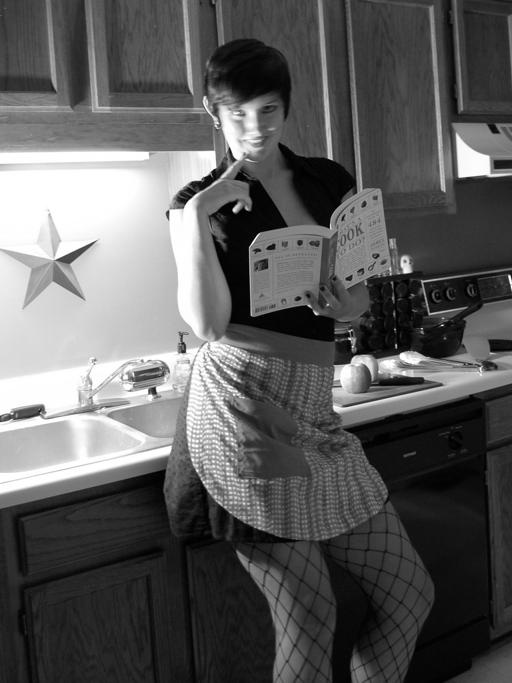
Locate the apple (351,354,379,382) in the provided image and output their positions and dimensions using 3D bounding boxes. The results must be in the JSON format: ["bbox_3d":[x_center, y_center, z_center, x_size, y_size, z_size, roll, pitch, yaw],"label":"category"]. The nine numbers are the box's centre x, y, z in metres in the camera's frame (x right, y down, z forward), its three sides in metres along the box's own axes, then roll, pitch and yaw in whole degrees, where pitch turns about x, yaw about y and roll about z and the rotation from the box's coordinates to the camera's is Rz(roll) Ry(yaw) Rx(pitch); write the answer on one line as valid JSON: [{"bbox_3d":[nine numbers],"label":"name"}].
[{"bbox_3d":[0.324,0.067,1.691,0.072,0.075,0.075,-7,9,27],"label":"apple"}]

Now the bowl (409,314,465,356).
[{"bbox_3d":[0.643,-0.027,2.045,0.157,0.116,0.131,-5,4,-39],"label":"bowl"}]

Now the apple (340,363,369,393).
[{"bbox_3d":[0.268,0.101,1.559,0.070,0.074,0.073,-3,3,5],"label":"apple"}]

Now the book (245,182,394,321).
[{"bbox_3d":[0.093,-0.147,0.957,0.155,0.201,0.432,3,11,39],"label":"book"}]
